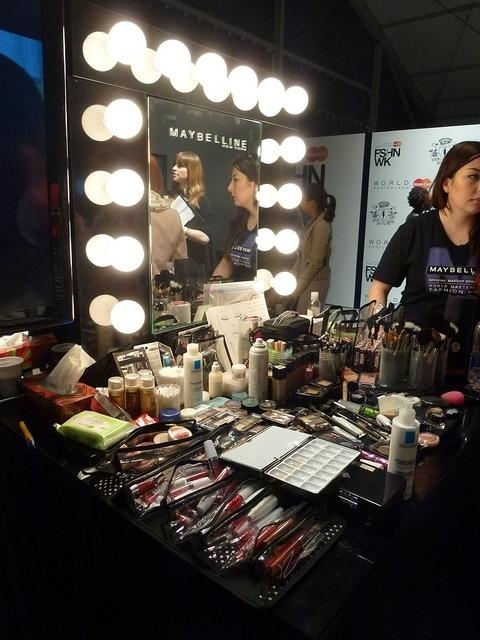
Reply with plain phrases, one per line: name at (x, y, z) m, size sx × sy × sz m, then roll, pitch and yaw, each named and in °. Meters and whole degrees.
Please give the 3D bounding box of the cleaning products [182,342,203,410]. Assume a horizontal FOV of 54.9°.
cleaning products at (-0.113, 0.132, 1.130) m, size 0.046 × 0.157 × 0.036 m, roll -1°, pitch 9°, yaw -12°

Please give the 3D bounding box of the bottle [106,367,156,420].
bottle at (-0.248, 0.171, 1.072) m, size 0.096 × 0.104 × 0.080 m, roll 8°, pitch 11°, yaw 32°

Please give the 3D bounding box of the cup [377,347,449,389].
cup at (0.495, 0.101, 1.292) m, size 0.132 × 0.098 × 0.136 m, roll 0°, pitch 6°, yaw 0°

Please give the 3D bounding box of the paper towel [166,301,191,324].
paper towel at (-0.187, -0.035, 1.400) m, size 0.062 × 0.073 × 0.063 m, roll -4°, pitch 16°, yaw -19°

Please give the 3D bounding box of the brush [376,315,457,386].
brush at (0.516, 0.078, 1.354) m, size 0.203 × 0.203 × 0.153 m, roll 6°, pitch 10°, yaw 27°

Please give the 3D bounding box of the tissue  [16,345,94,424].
tissue  at (-0.410, 0.134, 1.041) m, size 0.162 × 0.160 × 0.089 m, roll 14°, pitch 9°, yaw 31°

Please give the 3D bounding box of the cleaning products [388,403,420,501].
cleaning products at (0.295, 0.234, 0.841) m, size 0.047 × 0.186 × 0.048 m, roll 6°, pitch 18°, yaw 16°

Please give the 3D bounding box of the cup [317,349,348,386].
cup at (0.249, 0.127, 1.288) m, size 0.077 × 0.089 × 0.084 m, roll -1°, pitch 8°, yaw 0°

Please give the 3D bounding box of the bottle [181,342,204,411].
bottle at (-0.115, 0.133, 1.139) m, size 0.043 × 0.166 × 0.044 m, roll 2°, pitch 23°, yaw -1°

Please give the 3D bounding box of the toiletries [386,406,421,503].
toiletries at (0.290, 0.228, 0.820) m, size 0.045 × 0.162 × 0.035 m, roll 5°, pitch 10°, yaw 19°

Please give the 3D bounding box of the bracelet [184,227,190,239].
bracelet at (-0.161, -0.265, 1.396) m, size 0.009 × 0.026 × 0.019 m, roll -2°, pitch 33°, yaw -16°

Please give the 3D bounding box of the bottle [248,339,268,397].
bottle at (0.048, 0.120, 1.161) m, size 0.044 × 0.177 × 0.045 m, roll 0°, pitch 25°, yaw 0°
